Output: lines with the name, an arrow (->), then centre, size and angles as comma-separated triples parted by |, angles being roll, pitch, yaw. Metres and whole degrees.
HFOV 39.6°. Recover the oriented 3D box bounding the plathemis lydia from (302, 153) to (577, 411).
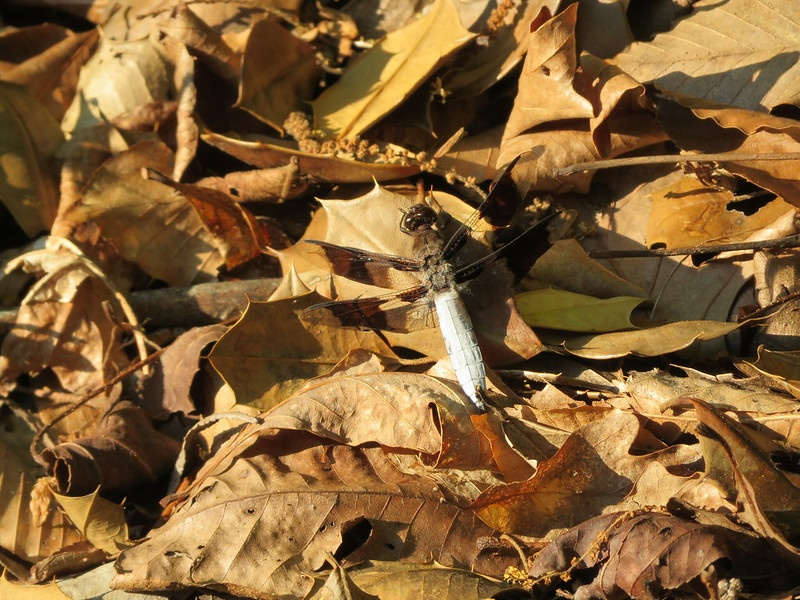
plathemis lydia -> 0.146, -0.101, 4.871 | 0.854, 0.910, 1.238 | -7, 103, -7
